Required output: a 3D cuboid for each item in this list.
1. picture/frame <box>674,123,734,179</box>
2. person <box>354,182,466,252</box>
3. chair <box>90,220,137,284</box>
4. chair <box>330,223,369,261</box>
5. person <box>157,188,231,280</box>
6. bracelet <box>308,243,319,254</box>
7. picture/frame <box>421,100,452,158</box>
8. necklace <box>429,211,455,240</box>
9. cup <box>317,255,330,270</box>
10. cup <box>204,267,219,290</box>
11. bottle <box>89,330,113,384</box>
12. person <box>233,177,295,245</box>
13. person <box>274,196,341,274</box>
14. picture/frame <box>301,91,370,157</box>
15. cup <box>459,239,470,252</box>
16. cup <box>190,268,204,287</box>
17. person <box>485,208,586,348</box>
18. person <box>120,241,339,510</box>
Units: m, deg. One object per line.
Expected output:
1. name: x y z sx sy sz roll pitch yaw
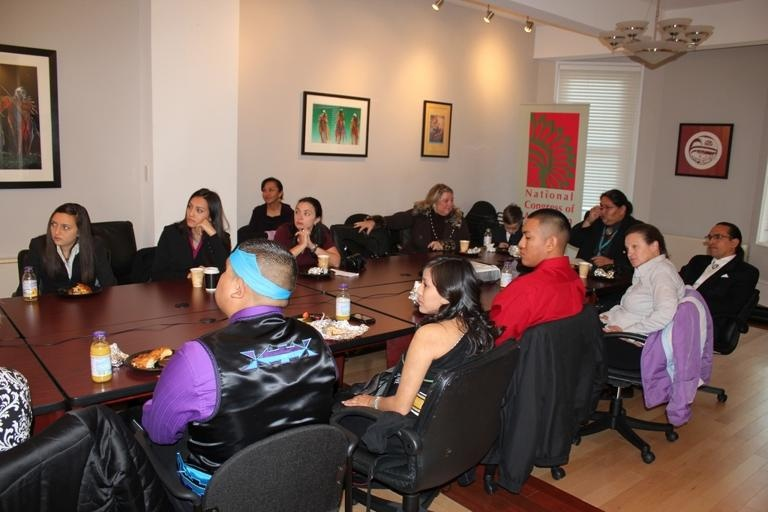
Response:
1. picture/frame: 4.500 -1.473 7.240 0.028 0.808 0.684 -6 18 -41
2. person: 0.260 -0.448 6.094 0.775 0.783 0.275 18 15 -12
3. chair: -2.242 -0.020 4.290 0.457 0.513 0.376 7 9 32
4. chair: -0.342 -0.150 5.160 0.338 0.404 0.324 -3 16 -9
5. person: -1.548 -0.139 4.279 0.608 0.771 0.475 6 19 -8
6. bracelet: -0.610 -0.067 4.492 0.068 0.092 0.036 -19 6 6
7. picture/frame: 0.743 -1.773 7.286 0.583 0.750 0.114 -12 16 -43
8. necklace: 0.641 -0.333 5.965 0.249 0.338 0.101 -11 -10 -11
9. cup: -0.488 0.052 4.274 0.104 0.106 0.104 1 4 0
10. cup: -1.203 0.157 3.619 0.118 0.127 0.127 7 7 -1
11. bottle: -1.332 0.489 2.442 0.090 0.188 0.096 -1 12 0
12. person: -1.301 -0.402 5.821 0.637 0.919 0.609 -3 5 -27
13. person: -0.751 -0.055 4.620 0.597 0.904 0.402 -6 22 -29
14. picture/frame: -0.627 -1.628 6.336 0.889 0.668 0.031 -2 9 -37
15. cup: 0.820 -0.102 5.369 0.118 0.120 0.099 5 4 20
16. cup: -1.373 0.158 3.834 0.123 0.133 0.121 1 4 0
17. person: 0.953 0.107 3.174 0.499 0.713 0.827 4 12 23
18. person: -0.724 0.692 2.431 0.796 1.537 0.833 21 19 41
